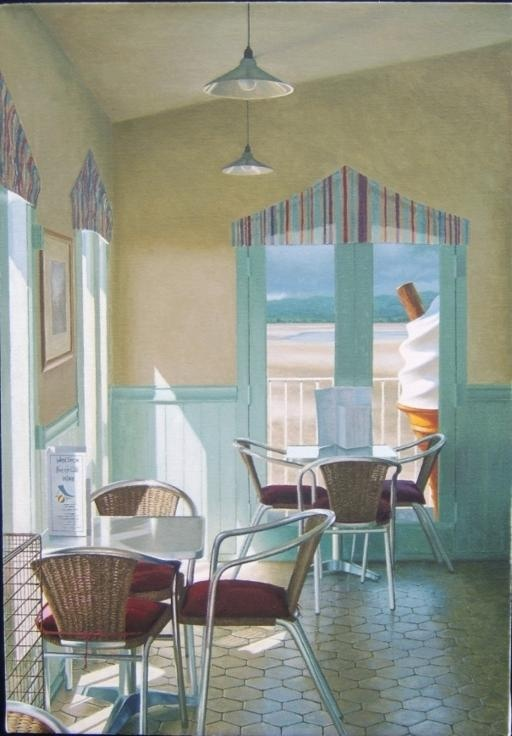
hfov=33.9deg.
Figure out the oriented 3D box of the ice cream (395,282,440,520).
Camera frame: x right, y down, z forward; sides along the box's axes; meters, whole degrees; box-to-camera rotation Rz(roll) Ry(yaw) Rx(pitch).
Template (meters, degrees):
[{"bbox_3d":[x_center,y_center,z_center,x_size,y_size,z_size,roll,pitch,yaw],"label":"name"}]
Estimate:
[{"bbox_3d":[0.473,-0.020,2.428,0.122,0.604,0.075,-2,0,7],"label":"ice cream"}]
